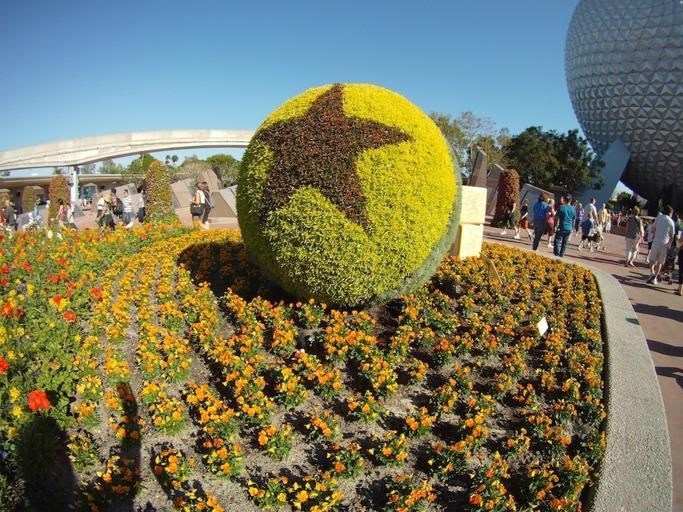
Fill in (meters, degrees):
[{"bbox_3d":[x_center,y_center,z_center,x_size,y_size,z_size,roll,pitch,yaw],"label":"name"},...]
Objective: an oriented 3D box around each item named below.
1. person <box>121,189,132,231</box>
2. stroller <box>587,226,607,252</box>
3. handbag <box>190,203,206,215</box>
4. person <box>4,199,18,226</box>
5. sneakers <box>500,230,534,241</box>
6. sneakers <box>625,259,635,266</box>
[{"bbox_3d":[-6.557,-1.492,13.114,0.288,1.072,1.788,-5,10,-26],"label":"person"},{"bbox_3d":[8.884,-0.565,14.936,0.521,0.812,1.452,-1,-16,31],"label":"stroller"},{"bbox_3d":[-4.091,-1.291,12.172,0.300,0.244,0.322,4,21,-9],"label":"handbag"},{"bbox_3d":[-12.694,-1.521,16.420,0.344,1.159,2.768,-8,11,-38],"label":"person"},{"bbox_3d":[6.330,-0.713,15.436,0.605,0.241,0.199,-8,43,30],"label":"sneakers"},{"bbox_3d":[8.753,0.229,13.077,0.232,0.111,0.356,0,9,-1],"label":"sneakers"}]
